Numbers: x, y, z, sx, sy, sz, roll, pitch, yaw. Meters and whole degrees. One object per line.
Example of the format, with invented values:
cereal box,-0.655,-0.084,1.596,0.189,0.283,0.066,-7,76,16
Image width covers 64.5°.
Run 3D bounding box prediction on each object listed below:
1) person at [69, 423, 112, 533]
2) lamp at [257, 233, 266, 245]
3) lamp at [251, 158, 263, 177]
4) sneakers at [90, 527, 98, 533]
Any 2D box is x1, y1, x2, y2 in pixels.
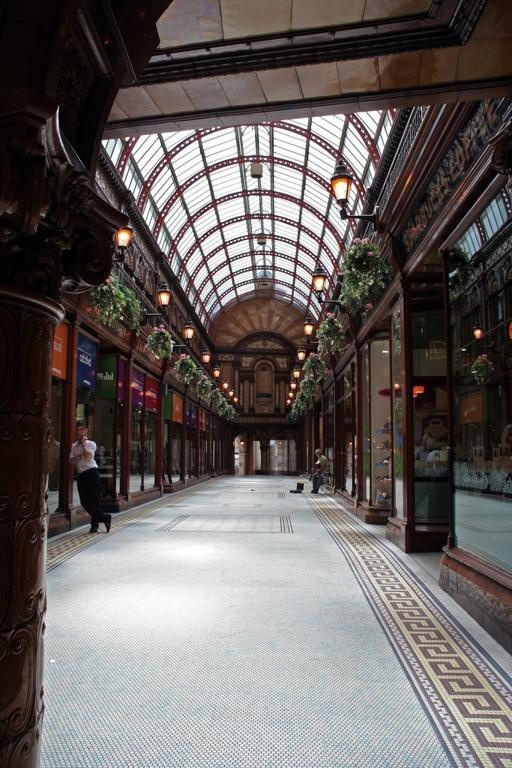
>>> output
person,-3.315,1.931,8.202,0.753,2.097,1.373,3,-12,-15
lamp,0.396,-10.702,30.031,0.673,0.886,1.011,1,-13,-3
lamp,0.027,-11.663,21.925,0.685,0.787,0.621,12,-17,-43
sneakers,-3.276,2.943,8.215,0.130,0.183,0.138,-12,-18,35
